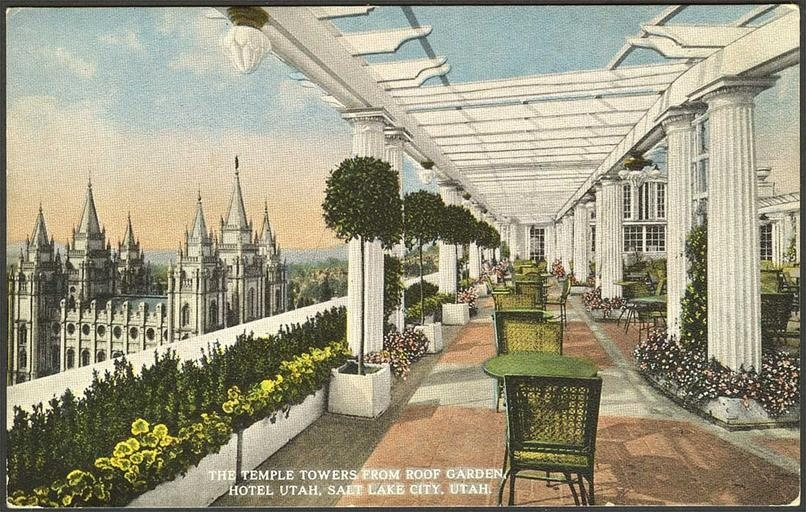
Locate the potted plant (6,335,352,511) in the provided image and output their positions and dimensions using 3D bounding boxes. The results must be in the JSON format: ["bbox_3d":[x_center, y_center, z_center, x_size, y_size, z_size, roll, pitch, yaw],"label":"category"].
[{"bbox_3d":[-2.992,2.190,10.655,4.009,1.133,0.835,-20,40,-40],"label":"potted plant"}]

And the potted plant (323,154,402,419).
[{"bbox_3d":[-0.576,0.434,12.456,1.094,3.643,1.085,-3,0,14],"label":"potted plant"}]

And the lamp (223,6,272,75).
[{"bbox_3d":[-2.014,-2.730,10.604,0.553,0.810,0.358,-3,0,-11],"label":"lamp"}]

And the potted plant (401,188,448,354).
[{"bbox_3d":[0.427,0.239,15.572,0.779,2.904,1.855,-3,0,3],"label":"potted plant"}]
